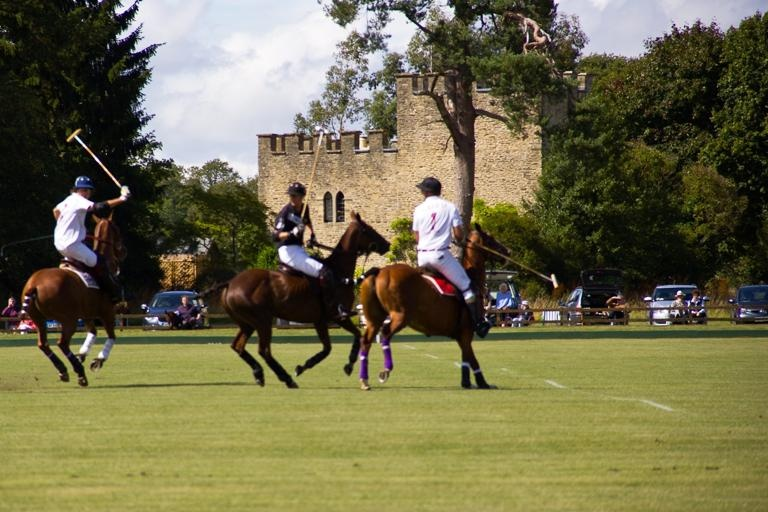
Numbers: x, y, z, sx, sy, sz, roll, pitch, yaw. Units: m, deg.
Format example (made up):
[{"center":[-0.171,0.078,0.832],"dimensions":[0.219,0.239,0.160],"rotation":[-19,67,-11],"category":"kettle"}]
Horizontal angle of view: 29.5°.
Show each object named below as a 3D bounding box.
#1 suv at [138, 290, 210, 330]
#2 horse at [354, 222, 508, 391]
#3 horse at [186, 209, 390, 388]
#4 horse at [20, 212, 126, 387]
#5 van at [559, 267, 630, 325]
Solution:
[{"center":[-8.190,2.196,58.120],"dimensions":[2.601,1.845,5.018],"rotation":[-1,-3,4],"category":"suv"},{"center":[1.217,1.240,37.800],"dimensions":[2.755,4.792,1.739],"rotation":[0,-1,23],"category":"horse"},{"center":[-2.290,1.380,38.252],"dimensions":[5.447,4.115,1.260],"rotation":[-5,1,-24],"category":"horse"},{"center":[-8.302,1.227,39.045],"dimensions":[2.630,4.488,1.568],"rotation":[0,-1,-27],"category":"horse"},{"center":[8.786,1.674,60.610],"dimensions":[2.269,1.855,5.057],"rotation":[0,0,3],"category":"van"}]
